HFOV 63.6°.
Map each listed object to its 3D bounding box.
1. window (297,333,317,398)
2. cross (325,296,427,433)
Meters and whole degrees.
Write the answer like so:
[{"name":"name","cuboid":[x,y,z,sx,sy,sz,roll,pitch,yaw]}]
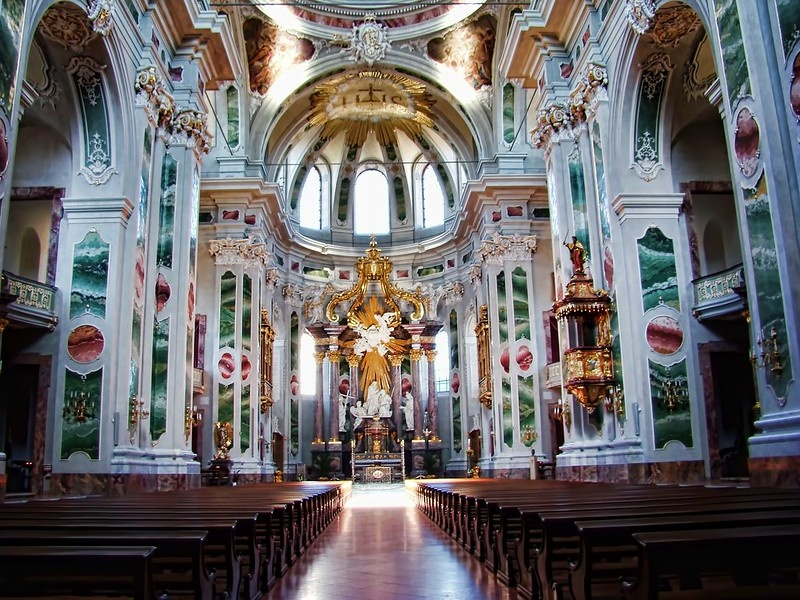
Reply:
[{"name":"window","cuboid":[-3.502,2.361,23.774,0.524,2.409,0.110,1,13,-1]},{"name":"cross","cuboid":[-1.013,2.213,23.780,2.950,5.725,0.095,-1,23,-4]}]
